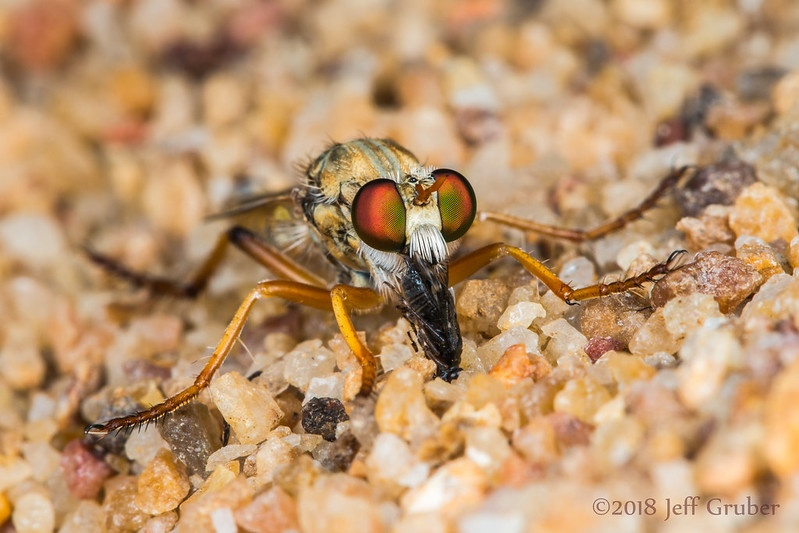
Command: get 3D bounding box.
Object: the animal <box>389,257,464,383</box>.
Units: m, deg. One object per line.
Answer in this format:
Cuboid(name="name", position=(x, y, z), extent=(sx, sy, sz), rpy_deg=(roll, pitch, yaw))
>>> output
Cuboid(name="animal", position=(0.092, 0.185, 2.736), extent=(0.216, 0.134, 0.367), rpy_deg=(-13, 81, -7))
